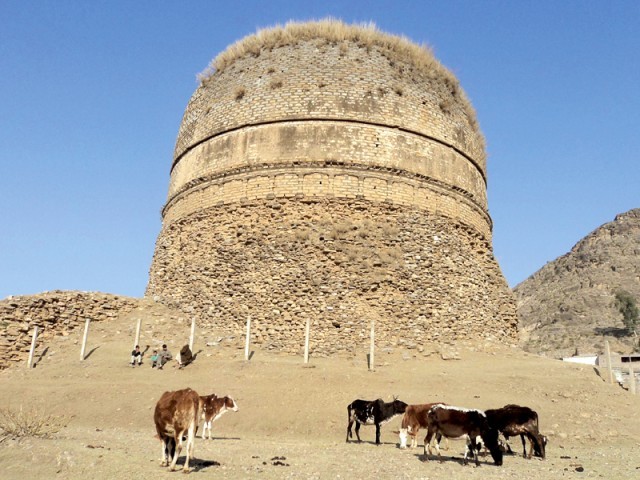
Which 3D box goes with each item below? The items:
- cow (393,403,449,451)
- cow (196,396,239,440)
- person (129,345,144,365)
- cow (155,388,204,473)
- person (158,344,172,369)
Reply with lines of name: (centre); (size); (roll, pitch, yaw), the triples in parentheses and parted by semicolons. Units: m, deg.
cow: (2.609, 4.218, 10.696); (1.691, 0.995, 0.440); (-21, -34, 39)
cow: (-2.847, 4.624, 12.164); (1.900, 0.975, 0.440); (-23, -49, 38)
person: (-7.388, 4.597, 18.660); (0.448, 0.621, 0.712); (-1, 7, -22)
cow: (-2.778, 3.709, 8.955); (0.811, 1.608, 1.120); (1, 7, -13)
person: (-6.210, 4.639, 18.651); (0.469, 0.582, 0.998); (1, 7, -11)
